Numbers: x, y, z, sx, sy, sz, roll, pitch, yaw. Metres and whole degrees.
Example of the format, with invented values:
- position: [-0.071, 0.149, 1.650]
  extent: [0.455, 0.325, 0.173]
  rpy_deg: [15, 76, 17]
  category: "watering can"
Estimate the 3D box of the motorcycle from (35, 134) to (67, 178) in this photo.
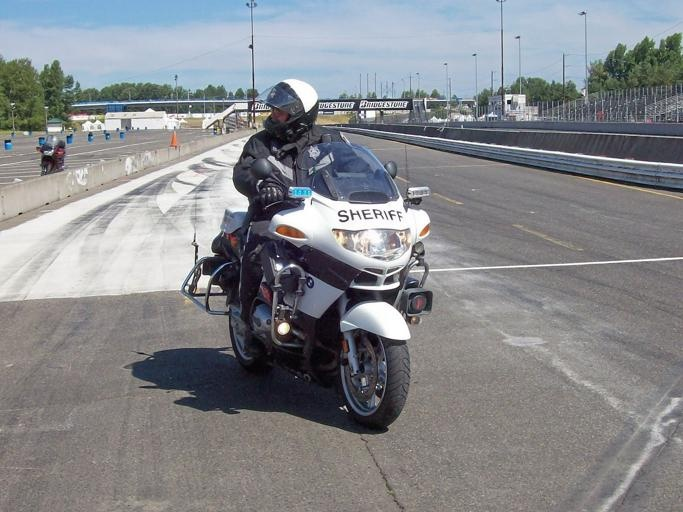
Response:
- position: [-9.990, -3.509, 21.148]
  extent: [0.912, 1.421, 2.517]
  rpy_deg: [6, 15, -14]
  category: "motorcycle"
